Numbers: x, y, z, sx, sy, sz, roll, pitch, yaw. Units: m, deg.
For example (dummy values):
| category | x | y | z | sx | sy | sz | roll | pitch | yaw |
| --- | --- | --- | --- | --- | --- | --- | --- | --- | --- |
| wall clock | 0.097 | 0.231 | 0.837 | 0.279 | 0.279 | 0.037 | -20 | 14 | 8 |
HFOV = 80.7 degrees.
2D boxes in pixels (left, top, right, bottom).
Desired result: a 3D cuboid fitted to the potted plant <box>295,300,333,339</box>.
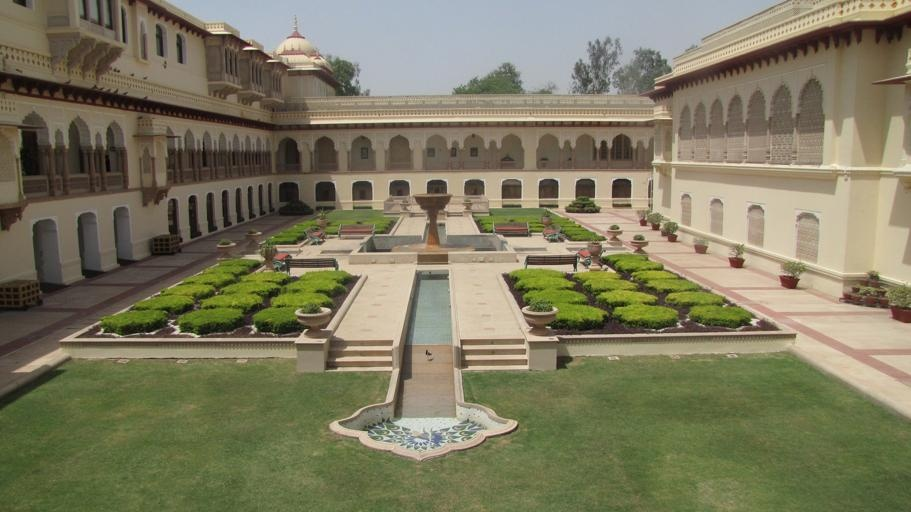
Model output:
| category | x | y | z | sx | sy | sz | roll | pitch | yaw |
| --- | --- | --- | --- | --- | --- | --- | --- | --- | --- |
| potted plant | -5.032 | 2.381 | 19.041 | 1.244 | 0.774 | 1.167 | -2 | -1 | 24 |

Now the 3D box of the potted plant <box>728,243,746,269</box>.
| category | x | y | z | sx | sy | sz | roll | pitch | yaw |
| --- | --- | --- | --- | --- | --- | --- | --- | --- | --- |
| potted plant | 15.478 | -0.035 | 29.364 | 0.767 | 1.329 | 1.207 | 5 | 13 | 26 |

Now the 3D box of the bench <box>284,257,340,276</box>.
| category | x | y | z | sx | sy | sz | roll | pitch | yaw |
| --- | --- | --- | --- | --- | --- | --- | --- | --- | --- |
| bench | -7.448 | 0.430 | 27.758 | 2.576 | 0.822 | 1.578 | -2 | 11 | -6 |

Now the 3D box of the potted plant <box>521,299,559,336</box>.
| category | x | y | z | sx | sy | sz | roll | pitch | yaw |
| --- | --- | --- | --- | --- | --- | --- | --- | --- | --- |
| potted plant | 2.909 | 2.279 | 19.285 | 1.552 | 0.975 | 1.373 | 0 | -3 | -4 |
